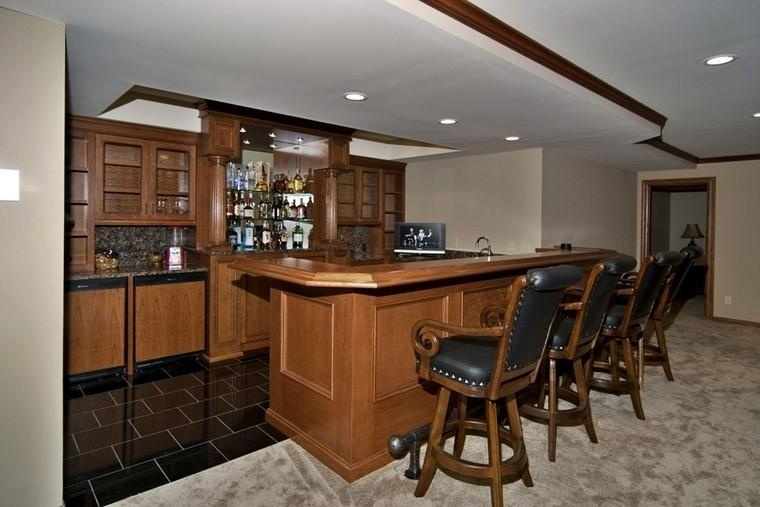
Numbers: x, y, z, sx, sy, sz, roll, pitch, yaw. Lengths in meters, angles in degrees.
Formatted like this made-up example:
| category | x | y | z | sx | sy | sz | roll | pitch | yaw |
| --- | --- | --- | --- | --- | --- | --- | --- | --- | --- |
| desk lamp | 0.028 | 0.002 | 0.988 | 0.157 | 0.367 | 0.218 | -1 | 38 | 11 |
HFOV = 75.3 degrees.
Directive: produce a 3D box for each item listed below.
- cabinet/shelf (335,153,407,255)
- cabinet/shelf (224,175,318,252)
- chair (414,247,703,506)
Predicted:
| category | x | y | z | sx | sy | sz | roll | pitch | yaw |
| --- | --- | --- | --- | --- | --- | --- | --- | --- | --- |
| cabinet/shelf | -0.183 | -0.749 | 7.585 | 0.420 | 1.580 | 1.616 | 1 | 2 | 36 |
| cabinet/shelf | -1.464 | -0.520 | 6.420 | 1.055 | 0.950 | 0.344 | -3 | 8 | -43 |
| chair | 1.421 | 1.040 | 3.983 | 1.867 | 1.132 | 0.620 | -2 | 5 | -44 |
